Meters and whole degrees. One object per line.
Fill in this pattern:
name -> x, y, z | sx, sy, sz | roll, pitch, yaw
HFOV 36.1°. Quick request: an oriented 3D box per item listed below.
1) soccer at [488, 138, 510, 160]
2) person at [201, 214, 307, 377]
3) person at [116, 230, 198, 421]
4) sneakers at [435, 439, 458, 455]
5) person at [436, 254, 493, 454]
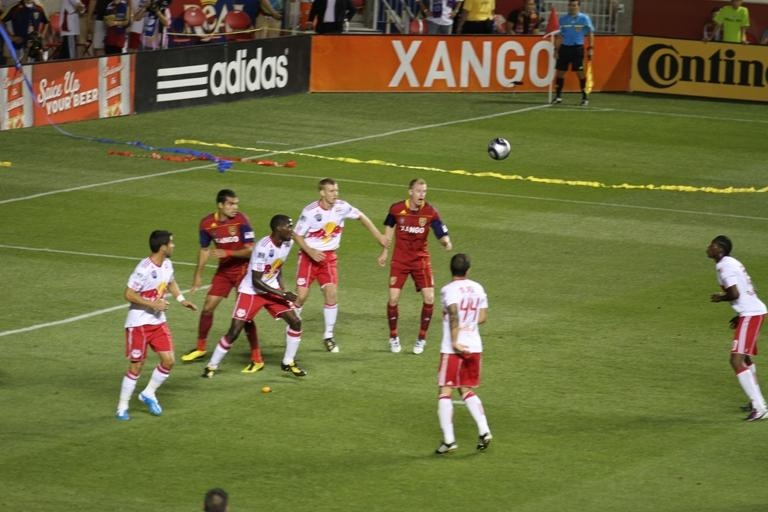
soccer -> 2.788, -2.599, 28.771 | 0.303, 0.505, 0.454 | -10, 15, -37
person -> -1.960, 0.613, 17.692 | 1.494, 2.419, 0.937 | -1, 13, -5
person -> -3.247, 0.973, 16.443 | 0.643, 2.630, 0.988 | 12, 18, 43
sneakers -> 0.775, 2.592, 15.920 | 0.392, 0.145, 0.119 | -14, 28, 29
person -> 1.093, 1.322, 15.911 | 0.740, 2.658, 0.820 | 0, 13, 3
